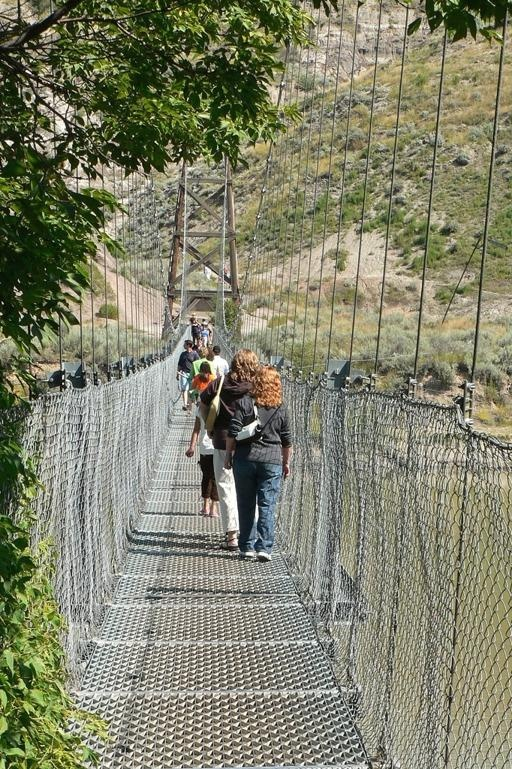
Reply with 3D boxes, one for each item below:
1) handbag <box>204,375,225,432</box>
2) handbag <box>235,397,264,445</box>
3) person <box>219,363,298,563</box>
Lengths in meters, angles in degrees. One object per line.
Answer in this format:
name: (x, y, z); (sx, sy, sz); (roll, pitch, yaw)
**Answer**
handbag: (-0.280, 0.139, 4.969); (0.065, 0.299, 0.200); (10, -9, -7)
handbag: (-0.029, 0.227, 4.619); (0.153, 0.236, 0.210); (-16, -8, 21)
person: (0.023, 0.526, 4.777); (0.374, 1.162, 0.261); (4, 1, -16)
